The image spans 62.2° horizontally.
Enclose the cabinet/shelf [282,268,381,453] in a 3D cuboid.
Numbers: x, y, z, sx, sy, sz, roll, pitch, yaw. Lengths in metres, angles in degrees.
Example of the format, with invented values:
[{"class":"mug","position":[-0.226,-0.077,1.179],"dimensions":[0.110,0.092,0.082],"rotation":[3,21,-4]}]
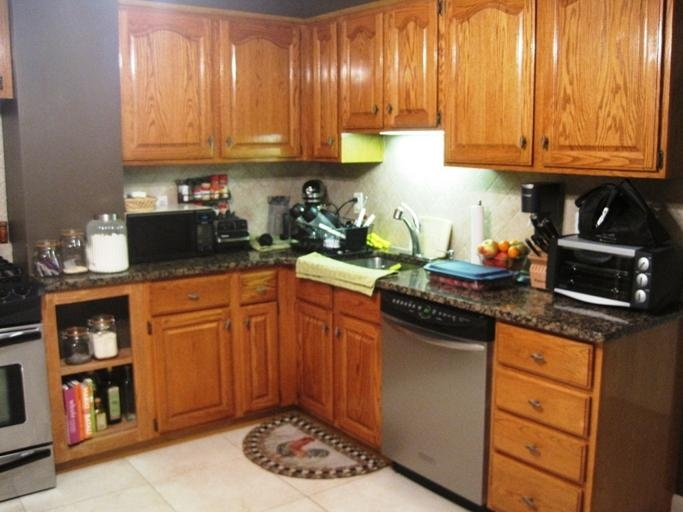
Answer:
[{"class":"cabinet/shelf","position":[-0.180,0.672,3.612],"dimensions":[0.507,0.917,1.000],"rotation":[-22,-30,38]}]

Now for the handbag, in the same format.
[{"class":"handbag","position":[1.279,-0.205,2.627],"dimensions":[0.234,0.261,0.418],"rotation":[-15,16,-31]}]

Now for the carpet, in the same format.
[{"class":"carpet","position":[-0.233,1.184,3.429],"dimensions":[0.902,0.075,0.586],"rotation":[7,16,45]}]

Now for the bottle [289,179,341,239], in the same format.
[{"class":"bottle","position":[-0.217,-0.331,4.107],"dimensions":[0.275,0.338,0.584],"rotation":[-2,7,-15]}]

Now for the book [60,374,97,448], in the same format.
[{"class":"book","position":[-1.520,0.893,3.269],"dimensions":[0.175,0.345,0.136],"rotation":[-10,12,-23]}]

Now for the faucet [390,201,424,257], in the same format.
[{"class":"faucet","position":[0.432,-0.181,3.677],"dimensions":[0.168,0.344,0.487],"rotation":[-3,11,6]}]

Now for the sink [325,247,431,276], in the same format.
[{"class":"sink","position":[0.244,0.028,3.679],"dimensions":[0.262,0.111,0.314],"rotation":[-10,14,-37]}]

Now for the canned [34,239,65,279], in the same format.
[{"class":"canned","position":[-1.641,0.025,3.072],"dimensions":[0.192,0.254,0.182],"rotation":[0,1,-41]}]

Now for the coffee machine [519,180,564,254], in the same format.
[{"class":"coffee machine","position":[1.056,-0.199,2.973],"dimensions":[0.154,0.374,0.248],"rotation":[5,15,40]}]

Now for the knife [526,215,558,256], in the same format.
[{"class":"knife","position":[1.052,-0.109,2.982],"dimensions":[0.130,0.240,0.063],"rotation":[-33,-5,39]}]

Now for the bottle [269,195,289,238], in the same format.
[{"class":"bottle","position":[-0.500,-0.281,4.418],"dimensions":[0.206,0.370,0.191],"rotation":[3,20,-1]}]

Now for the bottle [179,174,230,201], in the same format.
[{"class":"bottle","position":[-0.986,-0.495,4.006],"dimensions":[0.259,0.104,0.197],"rotation":[-11,24,-24]}]

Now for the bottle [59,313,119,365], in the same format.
[{"class":"bottle","position":[-1.466,0.484,3.289],"dimensions":[0.367,0.248,0.200],"rotation":[0,2,-23]}]

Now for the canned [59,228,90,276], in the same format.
[{"class":"canned","position":[-1.544,-0.022,3.237],"dimensions":[0.141,0.248,0.079],"rotation":[-10,13,-27]}]

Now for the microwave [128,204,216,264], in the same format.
[{"class":"microwave","position":[-1.187,-0.123,3.723],"dimensions":[0.570,0.342,0.382],"rotation":[-6,5,-36]}]
